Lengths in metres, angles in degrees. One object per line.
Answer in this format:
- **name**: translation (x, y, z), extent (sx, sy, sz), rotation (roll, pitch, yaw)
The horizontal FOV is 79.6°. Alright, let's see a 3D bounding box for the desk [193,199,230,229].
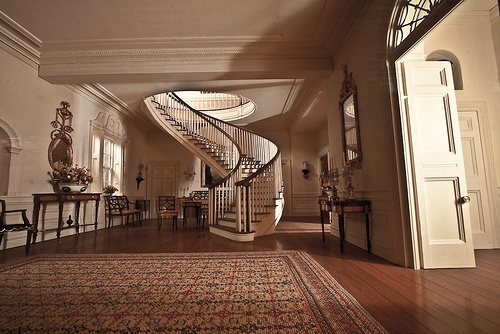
- **desk**: translation (-1.196, 1.439, 9.617), extent (0.834, 1.184, 0.954), rotation (2, -7, -11)

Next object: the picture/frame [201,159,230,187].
- **picture/frame**: translation (-1.206, 0.190, 10.110), extent (1.065, 1.187, 0.084), rotation (-2, -10, -5)

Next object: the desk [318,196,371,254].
- **desk**: translation (1.858, 1.132, 6.139), extent (0.561, 0.896, 1.538), rotation (-2, -5, -1)

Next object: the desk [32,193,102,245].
- **desk**: translation (-4.393, 1.163, 7.312), extent (0.703, 1.081, 1.562), rotation (-1, -5, 4)

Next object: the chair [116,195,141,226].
- **chair**: translation (-3.911, 1.337, 9.589), extent (0.726, 0.874, 0.758), rotation (-4, -1, -30)

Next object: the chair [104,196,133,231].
- **chair**: translation (-4.007, 1.347, 9.543), extent (0.537, 0.885, 1.320), rotation (-1, -4, 0)

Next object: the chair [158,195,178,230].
- **chair**: translation (-2.830, 1.541, 10.291), extent (0.879, 1.419, 0.951), rotation (2, -15, -14)

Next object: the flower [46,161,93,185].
- **flower**: translation (-4.422, 0.224, 7.471), extent (0.439, 0.575, 0.914), rotation (1, 10, 15)
